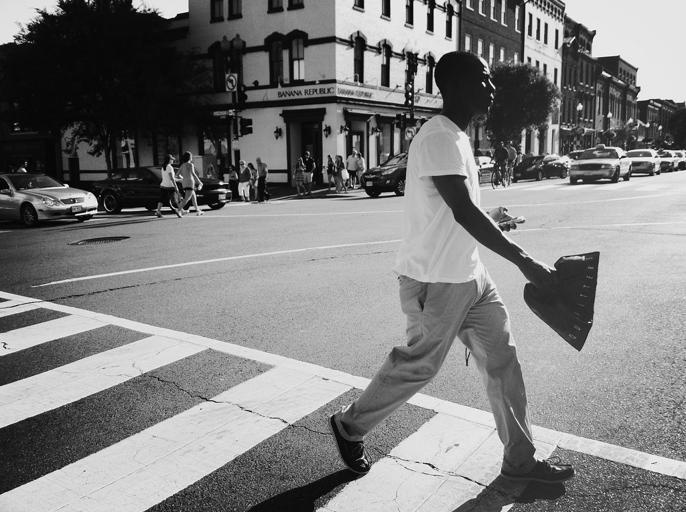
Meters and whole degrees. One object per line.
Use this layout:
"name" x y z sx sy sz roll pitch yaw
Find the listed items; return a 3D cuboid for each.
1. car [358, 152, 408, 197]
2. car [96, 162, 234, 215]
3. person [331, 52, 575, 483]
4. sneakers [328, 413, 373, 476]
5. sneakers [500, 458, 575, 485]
"car" 1.741 -3.366 25.003 2.185 1.296 1.114 -3 3 -40
"car" -6.514 -2.406 21.425 3.763 1.605 2.112 -1 8 18
"person" 0.679 0.084 3.745 1.331 2.683 0.515 2 8 15
"sneakers" 0.057 1.257 3.925 0.170 0.524 0.177 -18 -2 26
"sneakers" 1.232 1.363 3.823 0.435 0.200 0.189 -3 4 -1
